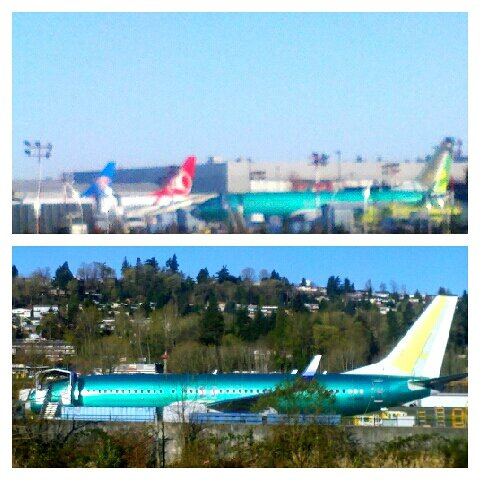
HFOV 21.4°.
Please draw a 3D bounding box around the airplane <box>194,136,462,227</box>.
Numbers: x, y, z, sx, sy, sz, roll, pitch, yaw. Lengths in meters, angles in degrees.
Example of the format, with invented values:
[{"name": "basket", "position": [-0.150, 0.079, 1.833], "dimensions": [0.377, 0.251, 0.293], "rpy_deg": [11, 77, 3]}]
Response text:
[{"name": "airplane", "position": [5.089, -2.529, 67.631], "dimensions": [12.404, 3.699, 1.526], "rpy_deg": [2, 7, 4]}]
